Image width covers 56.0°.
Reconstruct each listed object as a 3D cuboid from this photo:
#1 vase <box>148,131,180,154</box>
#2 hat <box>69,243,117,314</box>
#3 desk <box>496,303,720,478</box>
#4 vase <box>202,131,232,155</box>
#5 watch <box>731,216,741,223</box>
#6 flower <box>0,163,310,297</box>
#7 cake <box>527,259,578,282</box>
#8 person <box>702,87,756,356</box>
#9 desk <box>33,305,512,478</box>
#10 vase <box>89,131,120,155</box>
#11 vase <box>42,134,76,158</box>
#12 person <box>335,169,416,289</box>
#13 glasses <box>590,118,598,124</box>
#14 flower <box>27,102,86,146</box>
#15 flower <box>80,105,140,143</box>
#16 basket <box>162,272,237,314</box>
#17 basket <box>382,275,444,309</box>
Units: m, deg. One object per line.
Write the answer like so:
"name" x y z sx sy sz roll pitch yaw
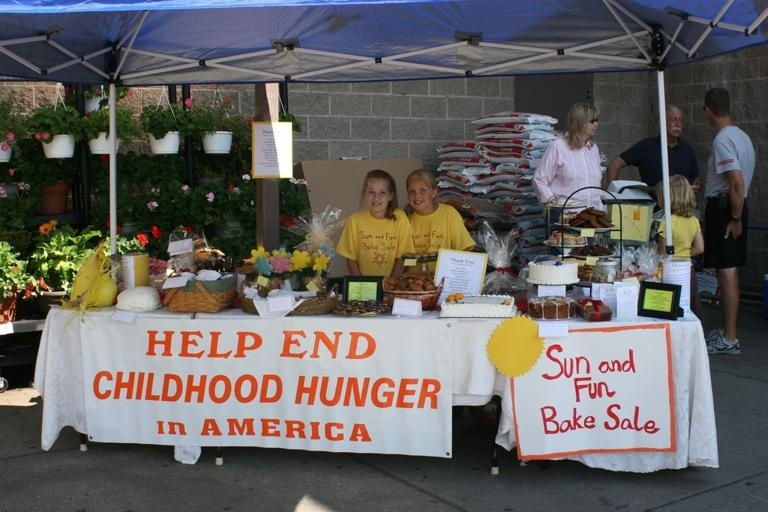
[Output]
"vase" -2.181 -1.094 7.127 0.239 0.142 0.244 -1 0 37
"hat" -2.000 0.141 4.924 0.232 0.415 0.302 6 15 28
"desk" 1.511 0.840 4.801 1.134 0.604 1.114 -2 -4 5
"vase" -1.667 -1.112 7.232 0.247 0.152 0.240 0 1 -16
"watch" 3.288 -0.330 6.751 0.063 0.032 0.050 4 -1 -4
"flower" -2.030 -0.401 7.003 2.943 0.663 1.222 -1 8 -3
"cake" 1.097 0.106 4.702 0.308 0.147 0.180 3 13 17
"person" 3.226 -0.315 6.831 0.505 2.472 0.529 4 14 20
"desk" -0.748 0.713 4.809 2.260 0.533 1.307 1 6 5
"vase" -2.749 -1.076 6.925 0.156 0.224 0.260 -7 15 -27
"vase" -3.033 -1.010 6.727 0.243 0.150 0.234 1 3 15
"person" -0.060 -0.240 5.352 0.545 0.779 0.290 2 13 12
"glasses" 1.894 -1.219 6.499 0.052 0.026 0.058 -2 -5 5
"flower" -3.037 -1.222 6.658 0.398 0.236 0.388 2 32 -13
"flower" -2.612 -1.249 6.920 0.381 0.228 0.376 0 11 7
"basket" -1.219 0.244 4.814 0.337 0.141 0.282 -1 5 8
"basket" 0.178 0.210 4.736 0.282 0.147 0.251 0 3 -36
